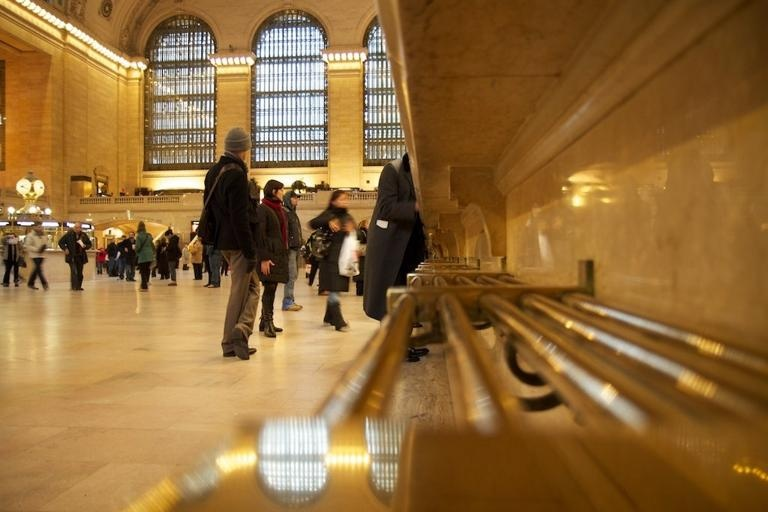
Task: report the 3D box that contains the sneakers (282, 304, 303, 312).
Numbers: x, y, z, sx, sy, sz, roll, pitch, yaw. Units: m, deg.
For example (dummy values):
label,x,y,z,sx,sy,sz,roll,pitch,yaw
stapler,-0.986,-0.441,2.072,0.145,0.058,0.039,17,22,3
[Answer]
label,x,y,z,sx,sy,sz,roll,pitch,yaw
sneakers,-1.307,0.728,7.048,0.204,0.080,0.113,-1,-3,4

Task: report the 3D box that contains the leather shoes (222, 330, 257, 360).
label,x,y,z,sx,sy,sz,roll,pitch,yaw
leather shoes,-1.139,0.691,3.836,0.128,0.223,0.331,1,-2,23

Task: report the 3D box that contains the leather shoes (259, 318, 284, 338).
label,x,y,z,sx,sy,sz,roll,pitch,yaw
leather shoes,-1.111,0.732,4.927,0.106,0.145,0.322,2,-14,-24

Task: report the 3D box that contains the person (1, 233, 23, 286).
label,x,y,z,sx,sy,sz,roll,pitch,yaw
person,-10.794,0.094,14.325,0.422,1.519,2.819,1,0,-37

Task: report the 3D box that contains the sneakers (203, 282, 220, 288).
label,x,y,z,sx,sy,sz,roll,pitch,yaw
sneakers,-4.229,0.741,12.187,0.145,0.182,0.464,-1,-10,8

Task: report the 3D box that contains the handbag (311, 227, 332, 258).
label,x,y,z,sx,sy,sz,roll,pitch,yaw
handbag,-0.717,-0.147,5.544,0.217,0.317,0.077,4,-4,18

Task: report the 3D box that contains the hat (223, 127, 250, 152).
label,x,y,z,sx,sy,sz,roll,pitch,yaw
hat,-1.273,-0.980,4.315,0.230,0.215,0.242,2,26,-14

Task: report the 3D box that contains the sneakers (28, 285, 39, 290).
label,x,y,z,sx,sy,sz,roll,pitch,yaw
sneakers,-9.085,0.801,12.799,0.301,0.126,0.099,0,5,-10
